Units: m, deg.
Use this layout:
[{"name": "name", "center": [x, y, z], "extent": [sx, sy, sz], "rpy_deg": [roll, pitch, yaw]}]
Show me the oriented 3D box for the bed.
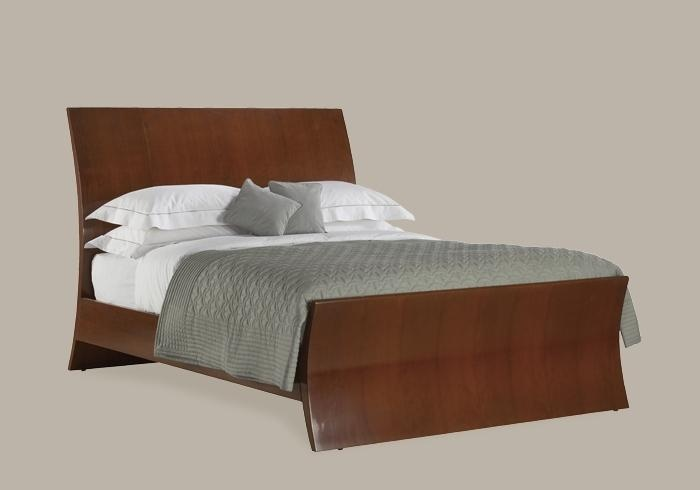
[{"name": "bed", "center": [-0.190, -0.091, 4.469], "extent": [2.383, 1.806, 3.032], "rpy_deg": [-4, 8, -34]}]
